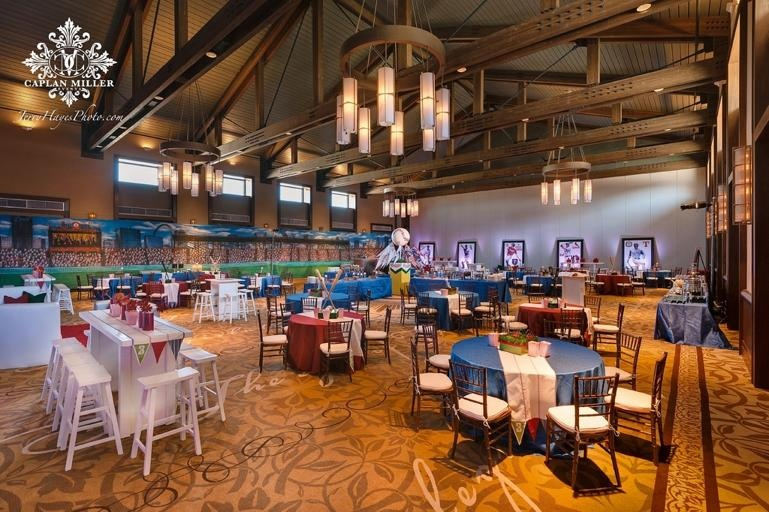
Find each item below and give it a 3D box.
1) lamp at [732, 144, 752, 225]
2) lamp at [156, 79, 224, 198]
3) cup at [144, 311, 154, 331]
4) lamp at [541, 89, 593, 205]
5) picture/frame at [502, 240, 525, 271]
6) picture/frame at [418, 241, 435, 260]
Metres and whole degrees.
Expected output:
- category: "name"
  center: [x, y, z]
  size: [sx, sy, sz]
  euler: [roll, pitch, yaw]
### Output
- category: "lamp"
  center: [6.297, -1.237, 9.209]
  size: [0.266, 1.334, 0.326]
  euler: [0, 0, 34]
- category: "lamp"
  center: [-4.961, -2.726, 13.446]
  size: [2.005, 1.594, 2.020]
  euler: [1, -6, -23]
- category: "cup"
  center: [-3.711, 1.027, 8.351]
  size: [0.138, 0.328, 0.179]
  euler: [0, 0, 29]
- category: "lamp"
  center: [4.753, -2.663, 13.719]
  size: [1.133, 2.549, 1.123]
  euler: [6, -4, -32]
- category: "picture/frame"
  center: [5.397, 0.005, 21.738]
  size: [1.196, 1.700, 0.116]
  euler: [-3, -10, 40]
- category: "picture/frame"
  center: [2.003, -0.228, 24.266]
  size: [1.031, 1.210, 0.084]
  euler: [0, -5, 37]
